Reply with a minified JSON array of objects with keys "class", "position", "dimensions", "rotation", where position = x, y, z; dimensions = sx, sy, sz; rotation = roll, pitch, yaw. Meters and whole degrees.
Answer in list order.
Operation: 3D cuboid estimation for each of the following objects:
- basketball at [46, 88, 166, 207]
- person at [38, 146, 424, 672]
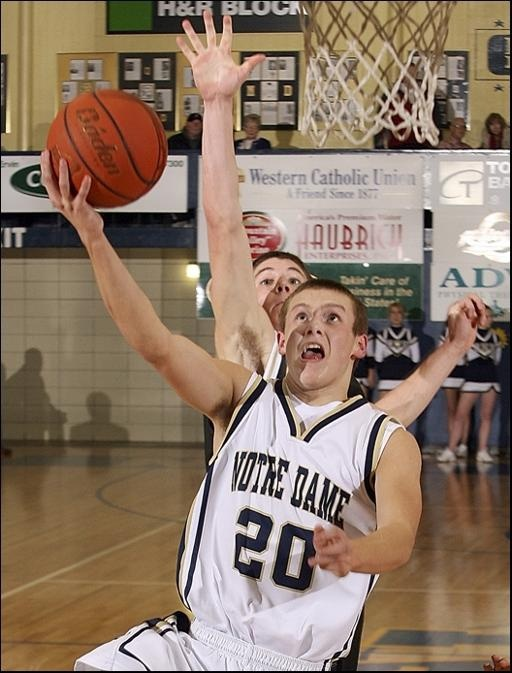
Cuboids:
[{"class":"basketball","position":[-0.322,-0.455,2.005],"dimensions":[0.256,0.261,0.249],"rotation":[-17,45,-8]},{"class":"person","position":[-0.019,0.207,1.742],"dimensions":[0.745,1.082,0.495],"rotation":[-2,9,-11]}]
